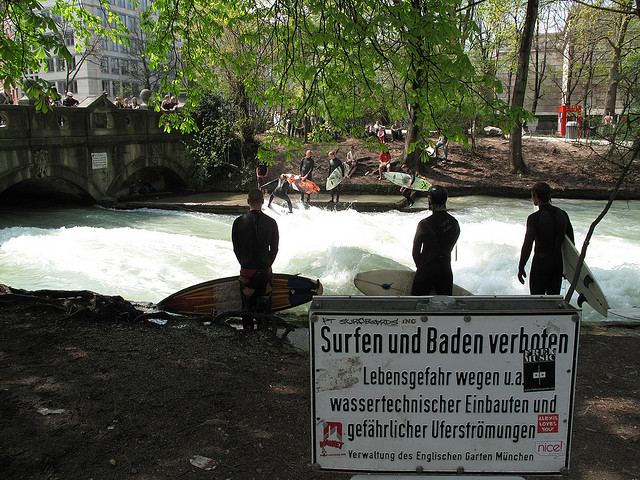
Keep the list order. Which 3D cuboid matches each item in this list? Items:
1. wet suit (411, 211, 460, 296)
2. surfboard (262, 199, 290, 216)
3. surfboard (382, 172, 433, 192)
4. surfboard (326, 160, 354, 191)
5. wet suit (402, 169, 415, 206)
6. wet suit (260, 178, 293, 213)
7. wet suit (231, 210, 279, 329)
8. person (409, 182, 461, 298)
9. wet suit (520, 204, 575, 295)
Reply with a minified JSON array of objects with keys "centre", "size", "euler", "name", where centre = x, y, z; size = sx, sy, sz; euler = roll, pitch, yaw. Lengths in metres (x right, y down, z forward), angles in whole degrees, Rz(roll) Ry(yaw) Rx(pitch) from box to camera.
[{"centre":[1.363,0.177,6.260],"size":[0.546,1.013,0.328],"euler":[2,11,1],"name":"wet suit"},{"centre":[-1.610,-1.097,19.296],"size":[0.459,0.206,1.769],"euler":[-15,34,-29],"name":"surfboard"},{"centre":[3.241,-2.167,19.886],"size":[1.665,0.639,0.972],"euler":[2,11,-3],"name":"surfboard"},{"centre":[0.734,-2.366,19.895],"size":[1.147,0.987,0.589],"euler":[-8,15,-43],"name":"surfboard"},{"centre":[3.338,-1.980,20.069],"size":[0.418,0.507,1.384],"euler":[19,41,13],"name":"wet suit"},{"centre":[-1.414,-1.640,19.024],"size":[0.847,1.185,2.810],"euler":[1,11,-5],"name":"wet suit"},{"centre":[-0.842,0.382,7.029],"size":[0.573,1.983,0.481],"euler":[-1,20,-12],"name":"wet suit"},{"centre":[1.370,0.031,6.247],"size":[0.549,1.304,0.348],"euler":[2,11,1],"name":"person"},{"centre":[2.769,0.121,6.535],"size":[0.575,1.095,0.347],"euler":[3,11,4],"name":"wet suit"}]
